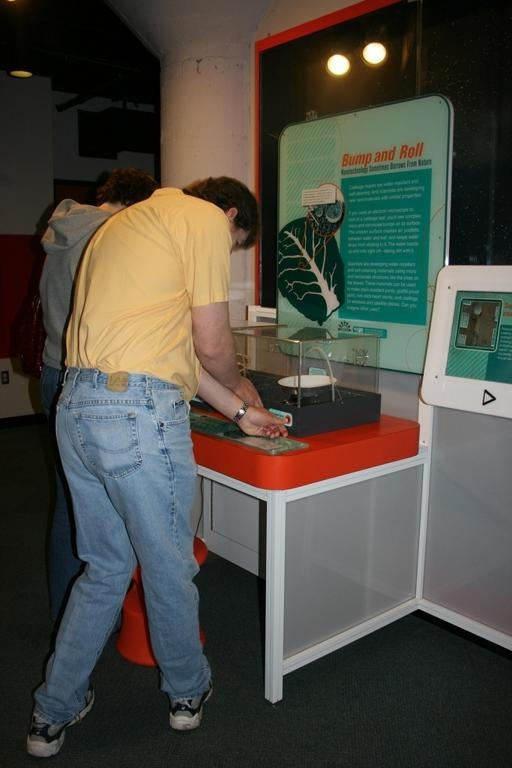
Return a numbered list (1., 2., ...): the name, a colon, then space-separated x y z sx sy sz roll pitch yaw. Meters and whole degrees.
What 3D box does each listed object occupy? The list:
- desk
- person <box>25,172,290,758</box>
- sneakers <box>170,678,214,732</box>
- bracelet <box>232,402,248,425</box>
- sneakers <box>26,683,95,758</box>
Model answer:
1. desk: 0.073 0.463 2.186 0.703 0.699 0.870 -6 9 -37
2. person: -0.282 0.226 1.456 0.568 1.370 0.422 -1 8 -6
3. sneakers: -0.176 0.846 1.614 0.060 0.073 0.165 1 4 7
4. bracelet: -0.041 0.081 1.666 0.012 0.044 0.045 30 4 7
5. sneakers: -0.495 0.842 1.536 0.060 0.083 0.175 7 24 15
